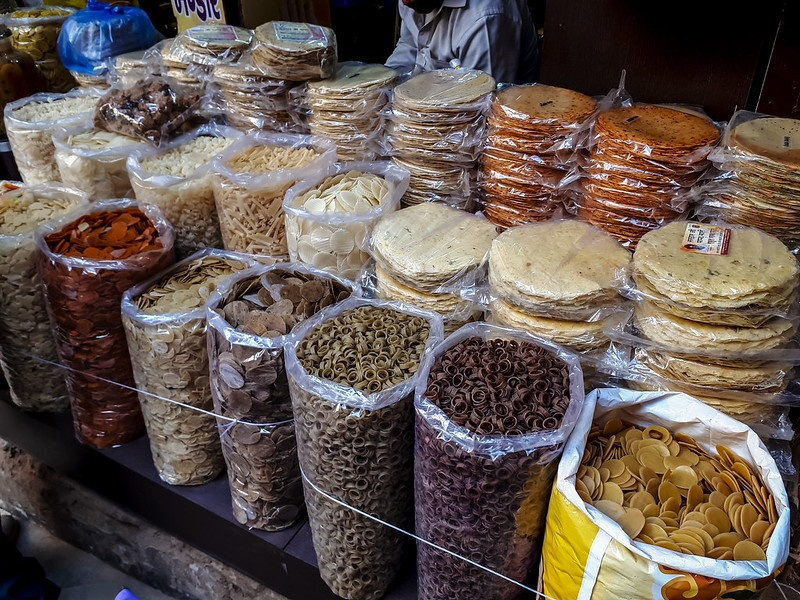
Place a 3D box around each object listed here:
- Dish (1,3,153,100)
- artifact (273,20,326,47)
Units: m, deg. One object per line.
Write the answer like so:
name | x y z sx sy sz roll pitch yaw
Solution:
Dish | -1.297 -1.081 2.553 0.543 0.184 0.460 27 40 37
artifact | -0.313 -0.856 2.009 0.161 0.034 0.142 4 38 -4
